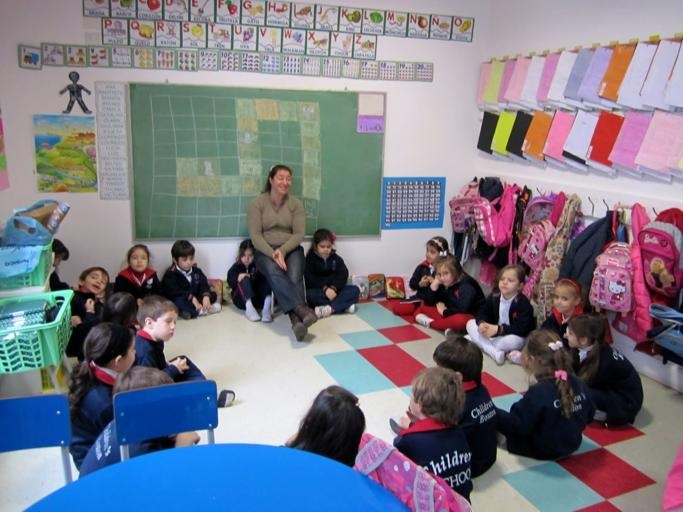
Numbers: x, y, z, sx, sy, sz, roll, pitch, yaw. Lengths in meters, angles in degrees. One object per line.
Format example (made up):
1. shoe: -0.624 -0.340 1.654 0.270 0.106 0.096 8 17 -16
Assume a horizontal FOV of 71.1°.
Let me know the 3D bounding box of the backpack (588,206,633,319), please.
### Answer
1. backpack: 1.820 0.156 3.221 0.248 0.446 0.304 9 19 20

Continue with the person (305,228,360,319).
1. person: -0.130 0.092 4.441 0.556 0.821 0.709 -8 20 -23

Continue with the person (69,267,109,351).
1. person: -1.631 0.345 3.087 0.188 0.251 0.709 20 11 -19

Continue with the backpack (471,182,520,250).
1. backpack: 1.315 -0.364 4.061 0.366 0.554 0.223 -2 8 16

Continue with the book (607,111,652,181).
1. book: 1.998 -0.790 3.318 0.078 0.368 0.339 6 16 -11

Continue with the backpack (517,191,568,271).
1. backpack: 1.600 -0.204 3.830 0.270 0.633 0.330 17 22 39

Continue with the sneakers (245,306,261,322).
1. sneakers: -0.752 0.473 4.055 0.145 0.129 0.099 10 19 21

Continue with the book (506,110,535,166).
1. book: 1.546 -1.072 4.164 0.068 0.314 0.287 11 14 8

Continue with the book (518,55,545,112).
1. book: 1.603 -1.480 4.007 0.080 0.333 0.313 7 13 6

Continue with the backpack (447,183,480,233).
1. backpack: 1.146 -0.455 4.473 0.159 0.421 0.399 19 33 16

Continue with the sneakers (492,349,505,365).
1. sneakers: 1.150 0.741 3.497 0.058 0.049 0.113 -23 51 -5

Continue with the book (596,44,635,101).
1. book: 1.932 -1.300 3.364 0.069 0.314 0.296 8 4 -17

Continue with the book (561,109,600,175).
1. book: 1.820 -0.906 3.637 0.078 0.367 0.339 3 28 -14

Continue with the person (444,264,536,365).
1. person: 1.221 0.341 3.883 0.664 0.876 0.609 -9 16 -36

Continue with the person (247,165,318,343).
1. person: -0.453 -0.089 3.968 0.488 1.226 0.969 -6 19 -25

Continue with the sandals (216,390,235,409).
1. sandals: -0.699 0.848 2.915 0.096 0.086 0.136 -1 18 -9

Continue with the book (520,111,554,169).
1. book: 1.636 -1.002 3.985 0.072 0.338 0.317 3 23 -28

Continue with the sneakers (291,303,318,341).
1. sneakers: -0.250 0.531 3.774 0.117 0.262 0.365 -17 -23 -8

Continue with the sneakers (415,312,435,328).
1. sneakers: 0.697 0.536 4.069 0.076 0.054 0.127 -27 28 -17

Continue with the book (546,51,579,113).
1. book: 1.729 -1.401 3.757 0.075 0.350 0.329 7 12 4

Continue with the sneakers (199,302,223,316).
1. sneakers: -1.141 0.460 4.160 0.125 0.042 0.079 -10 16 -42

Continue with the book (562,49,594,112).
1. book: 1.794 -1.365 3.630 0.080 0.339 0.320 6 9 6
